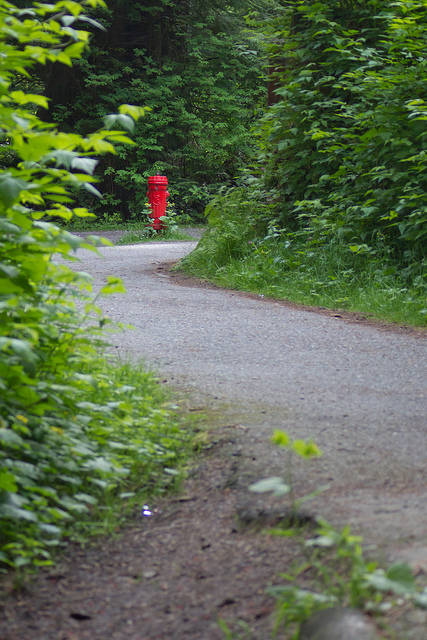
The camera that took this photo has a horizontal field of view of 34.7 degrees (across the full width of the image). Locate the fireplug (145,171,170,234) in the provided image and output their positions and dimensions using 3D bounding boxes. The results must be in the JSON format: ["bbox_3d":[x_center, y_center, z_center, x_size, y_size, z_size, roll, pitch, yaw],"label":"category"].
[{"bbox_3d":[-1.296,-2.708,15.768,0.476,1.320,0.740,0,12,-5],"label":"fireplug"}]
